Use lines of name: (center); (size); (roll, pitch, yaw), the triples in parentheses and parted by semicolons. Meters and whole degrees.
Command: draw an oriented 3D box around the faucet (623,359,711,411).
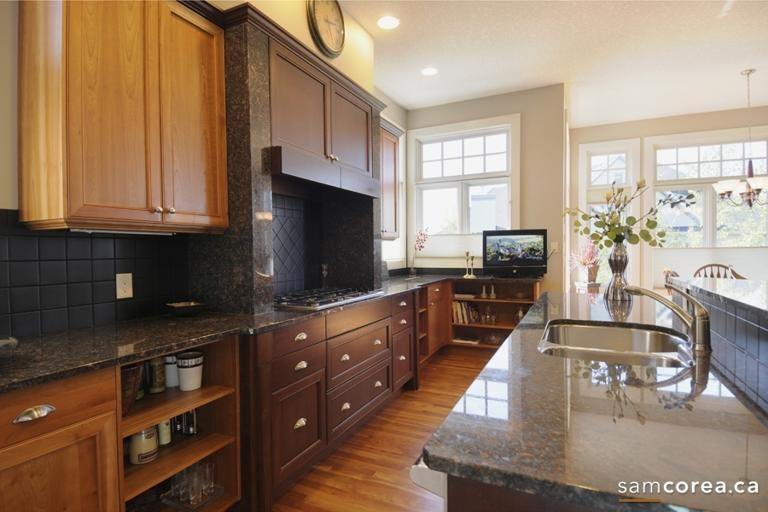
faucet: (1.153, 0.506, 2.149); (0.194, 0.090, 0.255); (-4, 1, -31)

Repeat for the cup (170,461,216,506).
cup: (-1.054, 1.228, 3.037); (0.230, 0.214, 0.232); (0, 4, 0)

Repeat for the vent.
vent: (-0.388, -0.569, 3.802); (0.105, 0.289, 1.098); (0, 3, 33)

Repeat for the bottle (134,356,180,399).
bottle: (-1.263, 0.669, 2.983); (0.223, 0.208, 0.195); (-2, 1, 6)

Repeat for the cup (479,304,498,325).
cup: (1.152, 0.647, 5.929); (0.176, 0.223, 0.210); (4, 7, 29)

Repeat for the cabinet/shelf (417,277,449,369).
cabinet/shelf: (0.476, 0.664, 5.323); (0.332, 0.751, 0.903); (0, 1, 23)

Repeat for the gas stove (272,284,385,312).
gas stove: (-0.459, 0.304, 3.823); (0.536, 0.051, 0.894); (0, 3, 29)

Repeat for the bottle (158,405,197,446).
bottle: (-1.177, 0.970, 3.032); (0.225, 0.198, 0.128); (0, -4, -13)

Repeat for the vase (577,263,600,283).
vase: (2.482, 0.199, 6.472); (0.257, 0.213, 0.264); (2, 0, -6)

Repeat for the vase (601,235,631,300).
vase: (1.534, 0.081, 3.508); (0.152, 0.417, 0.406); (0, 3, 24)

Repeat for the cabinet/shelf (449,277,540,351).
cabinet/shelf: (1.082, 0.540, 5.240); (0.856, 0.656, 0.275); (-1, -4, 22)

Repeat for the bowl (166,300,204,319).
bowl: (-1.235, 0.324, 3.322); (0.222, 0.081, 0.238); (-2, 3, 0)

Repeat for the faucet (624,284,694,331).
faucet: (1.344, 0.243, 2.654); (0.233, 0.159, 0.436); (-1, 3, 11)
